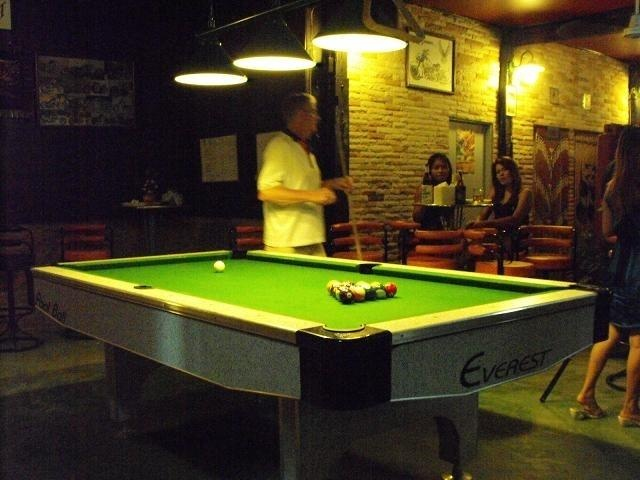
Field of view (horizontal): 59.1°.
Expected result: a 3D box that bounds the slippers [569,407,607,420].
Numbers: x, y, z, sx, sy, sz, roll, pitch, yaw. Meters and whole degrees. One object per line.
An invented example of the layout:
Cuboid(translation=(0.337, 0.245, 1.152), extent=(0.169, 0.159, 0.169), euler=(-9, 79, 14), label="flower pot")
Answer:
Cuboid(translation=(1.866, 1.210, 3.932), extent=(0.242, 0.072, 0.088), euler=(-2, -1, -10), label="slippers")

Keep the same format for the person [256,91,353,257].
Cuboid(translation=(-0.147, -0.439, 4.434), extent=(0.481, 1.675, 0.646), euler=(2, 2, 42), label="person")

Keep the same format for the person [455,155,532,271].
Cuboid(translation=(2.104, -0.207, 6.609), extent=(0.831, 1.495, 0.534), euler=(-3, 4, -39), label="person")

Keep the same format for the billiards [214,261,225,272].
Cuboid(translation=(-0.636, 0.166, 3.560), extent=(0.066, 0.066, 0.064), euler=(1, 3, 10), label="billiards")
